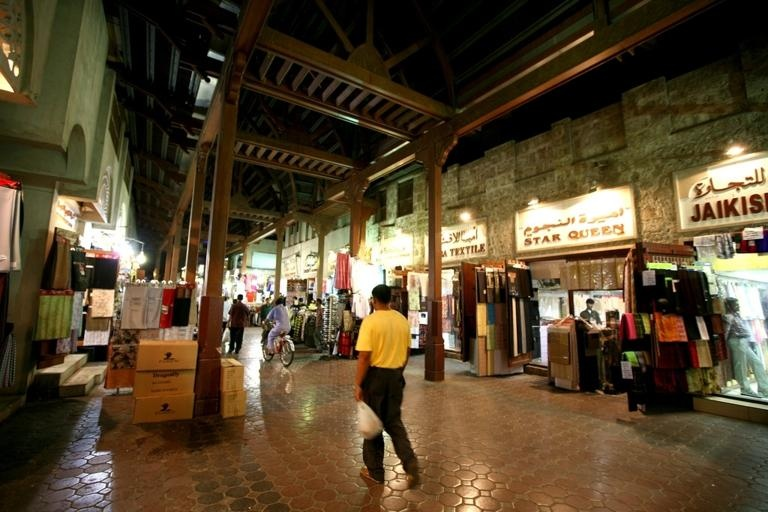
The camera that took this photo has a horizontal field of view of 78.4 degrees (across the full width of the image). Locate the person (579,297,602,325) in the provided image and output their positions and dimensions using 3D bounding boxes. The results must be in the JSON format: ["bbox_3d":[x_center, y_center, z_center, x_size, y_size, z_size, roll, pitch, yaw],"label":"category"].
[{"bbox_3d":[5.270,1.427,11.930,0.535,0.778,0.408,-5,-13,-2],"label":"person"}]

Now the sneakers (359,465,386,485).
[{"bbox_3d":[-0.162,3.294,7.106,0.160,0.151,0.369,5,0,-37],"label":"sneakers"}]

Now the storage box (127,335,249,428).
[{"bbox_3d":[-3.675,2.374,8.659,1.432,1.026,0.601,4,-10,-31],"label":"storage box"}]

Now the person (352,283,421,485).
[{"bbox_3d":[0.060,1.921,7.221,0.985,2.772,1.054,0,13,-4],"label":"person"}]
